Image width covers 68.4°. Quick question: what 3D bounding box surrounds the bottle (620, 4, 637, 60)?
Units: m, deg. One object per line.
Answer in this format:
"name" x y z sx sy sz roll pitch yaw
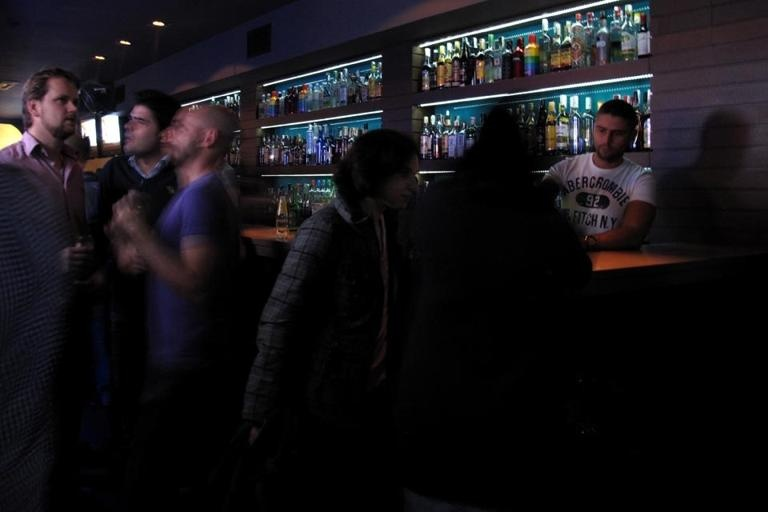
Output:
"bottle" 1.525 -1.387 3.517 0.096 0.325 0.127 4 12 14

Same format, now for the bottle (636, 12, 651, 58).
"bottle" 1.586 -1.353 3.457 0.063 0.260 0.159 3 12 8

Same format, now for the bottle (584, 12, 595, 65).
"bottle" 1.330 -1.394 3.654 0.078 0.319 0.218 4 12 16

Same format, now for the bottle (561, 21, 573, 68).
"bottle" 1.200 -1.380 3.702 0.077 0.303 0.205 5 13 17

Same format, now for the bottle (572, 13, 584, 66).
"bottle" 1.233 -1.338 3.592 0.095 0.266 0.056 8 13 31

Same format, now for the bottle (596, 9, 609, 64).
"bottle" 1.377 -1.356 3.556 0.081 0.313 0.254 5 13 20

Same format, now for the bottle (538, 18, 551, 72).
"bottle" 1.087 -1.420 3.809 0.083 0.371 0.221 4 12 14
